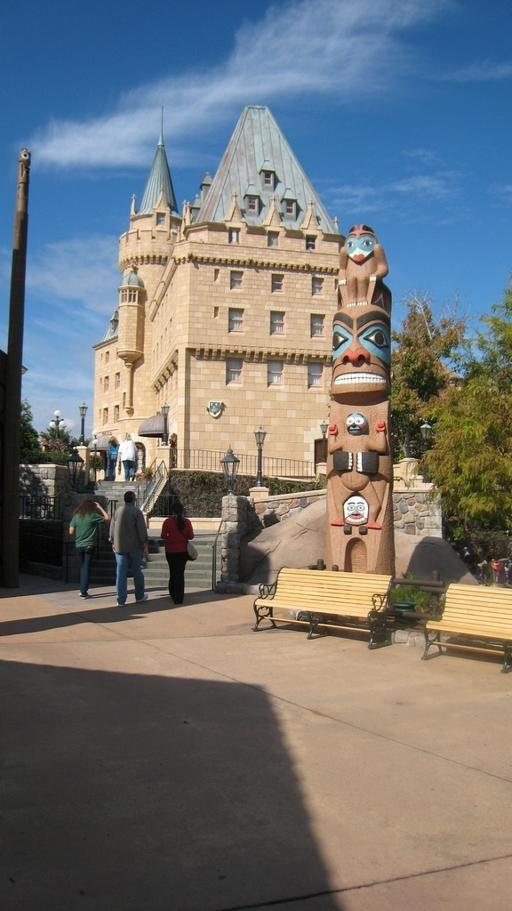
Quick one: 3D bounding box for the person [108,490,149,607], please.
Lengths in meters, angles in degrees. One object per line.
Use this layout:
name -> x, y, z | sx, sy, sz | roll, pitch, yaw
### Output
person -> -2.004, 1.462, 12.983 | 0.579, 1.785, 0.983 | 1, -2, -9

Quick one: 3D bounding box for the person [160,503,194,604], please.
person -> -1.300, 1.573, 13.434 | 0.463, 1.625, 1.522 | 1, -2, -4

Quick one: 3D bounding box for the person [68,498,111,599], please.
person -> -2.813, 1.549, 13.858 | 0.594, 1.649, 1.656 | 1, -2, -10

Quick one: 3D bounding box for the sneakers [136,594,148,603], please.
sneakers -> -1.854, 2.321, 13.325 | 0.080, 0.160, 0.161 | 12, 19, 39
